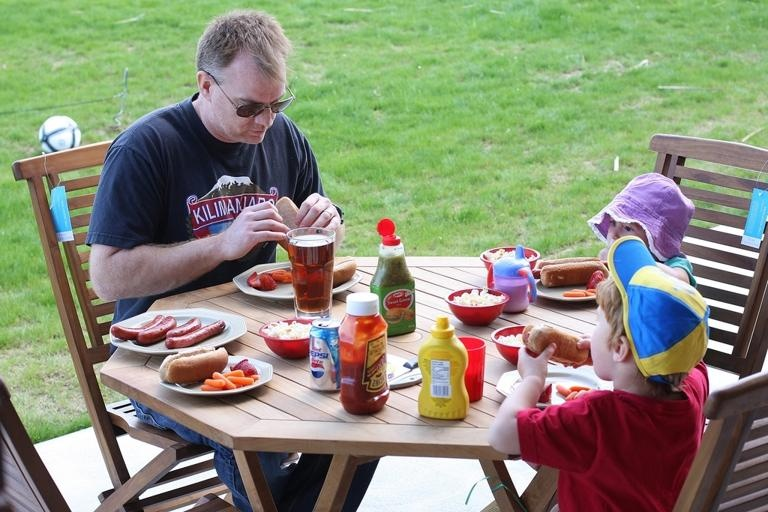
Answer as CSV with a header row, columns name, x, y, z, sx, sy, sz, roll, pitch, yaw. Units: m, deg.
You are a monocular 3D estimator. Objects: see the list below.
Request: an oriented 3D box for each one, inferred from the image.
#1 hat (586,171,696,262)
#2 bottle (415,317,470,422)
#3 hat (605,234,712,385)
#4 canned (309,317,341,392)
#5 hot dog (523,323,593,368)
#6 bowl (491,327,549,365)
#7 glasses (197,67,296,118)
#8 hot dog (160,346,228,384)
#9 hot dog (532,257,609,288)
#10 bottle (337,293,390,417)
name,x,y,z,sx,sy,sz,roll,pitch,yaw
hat,1.003,-0.142,2.658,0.319,0.322,0.410,7,-7,2
bottle,0.159,0.292,1.762,0.138,0.284,0.081,-1,15,5
hat,0.677,0.145,1.712,0.227,0.339,0.177,-8,-4,-37
canned,-0.164,0.286,1.849,0.092,0.215,0.063,-1,15,5
hot dog,0.506,0.259,1.903,0.179,0.068,0.107,19,1,-17
bowl,0.386,0.261,2.021,0.114,0.056,0.111,0,20,0
glasses,-0.505,-0.613,2.514,0.242,0.070,0.242,-14,55,-48
hot dog,-0.542,0.320,1.885,0.180,0.073,0.087,-14,-3,-27
hot dog,0.685,0.052,2.413,0.240,0.084,0.108,-5,0,-7
bottle,-0.059,0.256,1.804,0.142,0.330,0.139,-2,15,0
